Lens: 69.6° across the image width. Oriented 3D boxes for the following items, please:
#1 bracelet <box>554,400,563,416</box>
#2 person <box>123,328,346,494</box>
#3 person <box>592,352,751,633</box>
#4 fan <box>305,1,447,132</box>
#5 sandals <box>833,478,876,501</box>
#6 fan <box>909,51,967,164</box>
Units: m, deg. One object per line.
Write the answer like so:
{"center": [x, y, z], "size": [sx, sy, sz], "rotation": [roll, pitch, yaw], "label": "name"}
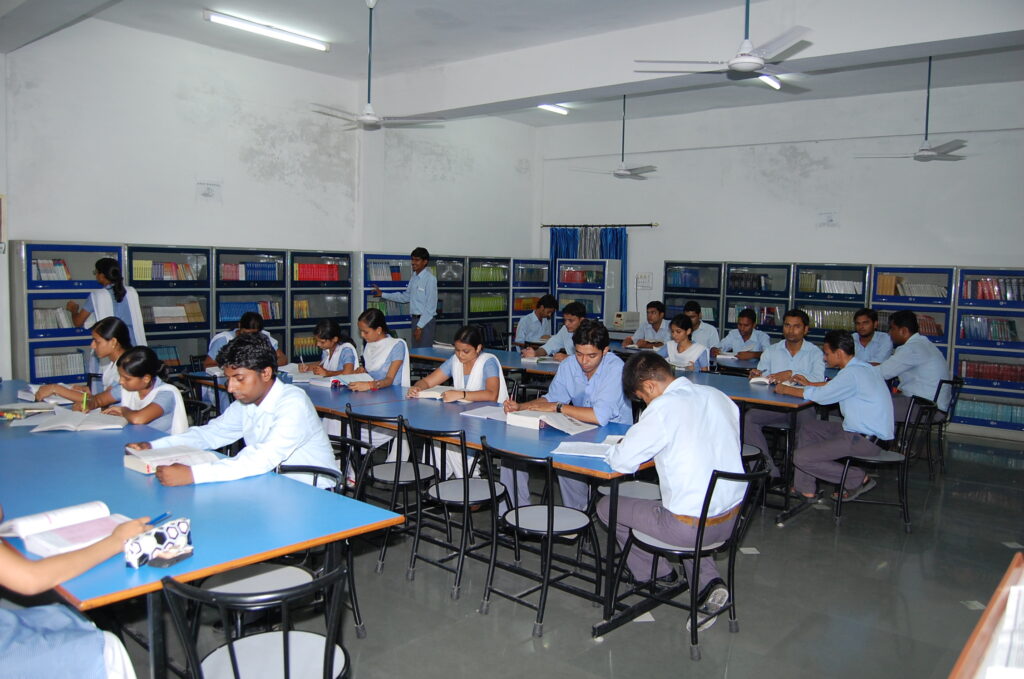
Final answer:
{"center": [0.357, 0.522, 5.694], "size": [0.065, 0.090, 0.046], "rotation": [-4, -7, 40], "label": "bracelet"}
{"center": [-1.687, 0.318, 4.752], "size": [1.230, 0.991, 0.867], "rotation": [-8, 16, -44], "label": "person"}
{"center": [1.085, 0.974, 5.040], "size": [0.806, 1.741, 1.023], "rotation": [-9, 10, -37], "label": "person"}
{"center": [-1.418, -2.778, 8.718], "size": [1.527, 1.581, 1.606], "rotation": [-1, 8, -30], "label": "fan"}
{"center": [3.073, 1.340, 6.621], "size": [0.511, 0.157, 0.200], "rotation": [-7, -1, -41], "label": "sandals"}
{"center": [5.143, -2.797, 8.858], "size": [0.506, 1.230, 0.933], "rotation": [-9, 12, -1], "label": "fan"}
